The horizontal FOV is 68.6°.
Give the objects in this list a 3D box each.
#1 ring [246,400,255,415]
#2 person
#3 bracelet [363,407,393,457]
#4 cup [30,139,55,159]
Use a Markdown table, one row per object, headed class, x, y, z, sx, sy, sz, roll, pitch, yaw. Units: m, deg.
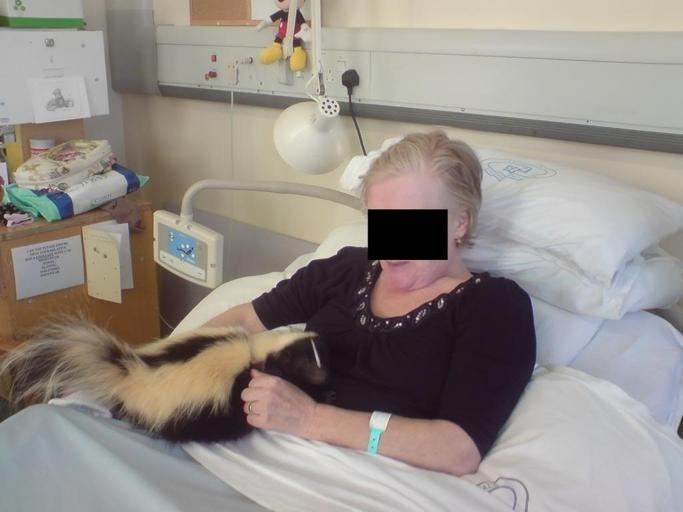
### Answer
| class | x | y | z | sx | sy | sz | roll | pitch | yaw |
| --- | --- | --- | --- | --- | --- | --- | --- | --- | --- |
| ring | -0.202 | 0.335 | 1.104 | 0.009 | 0.025 | 0.026 | 3 | 58 | -21 |
| person | 0.056 | 0.054 | 1.395 | 0.664 | 0.731 | 0.980 | 0 | 8 | -40 |
| bracelet | 0.075 | 0.372 | 1.067 | 0.041 | 0.081 | 0.076 | 13 | -10 | 13 |
| cup | -1.280 | -0.464 | 2.162 | 0.072 | 0.088 | 0.078 | 5 | 21 | -2 |
